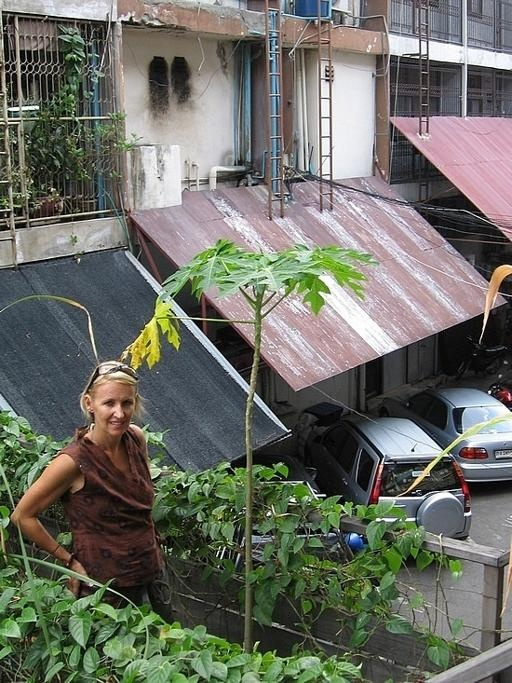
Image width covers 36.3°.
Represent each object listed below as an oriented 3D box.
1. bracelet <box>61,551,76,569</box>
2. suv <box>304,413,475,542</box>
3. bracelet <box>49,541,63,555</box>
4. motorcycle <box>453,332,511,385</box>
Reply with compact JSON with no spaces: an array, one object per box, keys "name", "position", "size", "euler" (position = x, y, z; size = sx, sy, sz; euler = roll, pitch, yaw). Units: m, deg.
[{"name":"bracelet","position":[-0.668,0.776,2.767],"size":[0.016,0.049,0.035],"euler":[13,-11,-21]},{"name":"suv","position":[1.742,1.849,11.344],"size":[1.491,1.476,3.411],"euler":[-4,14,-16]},{"name":"bracelet","position":[-0.705,0.723,2.737],"size":[0.028,0.037,0.037],"euler":[22,-6,-35]},{"name":"motorcycle","position":[5.454,0.471,19.138],"size":[1.317,0.785,0.795],"euler":[-23,20,-22]}]
